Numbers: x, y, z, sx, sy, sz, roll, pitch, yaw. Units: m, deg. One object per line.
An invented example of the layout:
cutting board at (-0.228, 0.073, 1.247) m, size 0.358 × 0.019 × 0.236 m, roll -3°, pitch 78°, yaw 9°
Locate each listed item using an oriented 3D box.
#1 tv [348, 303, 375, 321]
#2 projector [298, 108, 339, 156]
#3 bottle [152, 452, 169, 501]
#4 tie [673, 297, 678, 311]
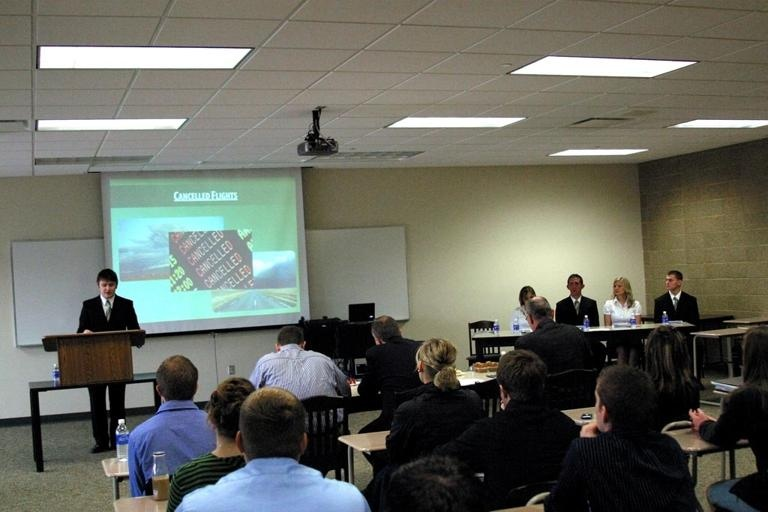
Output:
tv at (-0.355, 0.877, 9.271) m, size 0.390 × 0.243 × 0.259 m, roll 2°, pitch 3°, yaw -22°
projector at (-0.808, -1.424, 7.024) m, size 0.515 × 0.585 × 0.533 m, roll -2°, pitch 4°, yaw -17°
bottle at (-1.329, 1.304, 3.545) m, size 0.084 × 0.292 × 0.144 m, roll -2°, pitch -3°, yaw -24°
tie at (4.571, 0.754, 9.380) m, size 0.053 × 0.185 × 0.045 m, roll -17°, pitch -41°, yaw 35°
